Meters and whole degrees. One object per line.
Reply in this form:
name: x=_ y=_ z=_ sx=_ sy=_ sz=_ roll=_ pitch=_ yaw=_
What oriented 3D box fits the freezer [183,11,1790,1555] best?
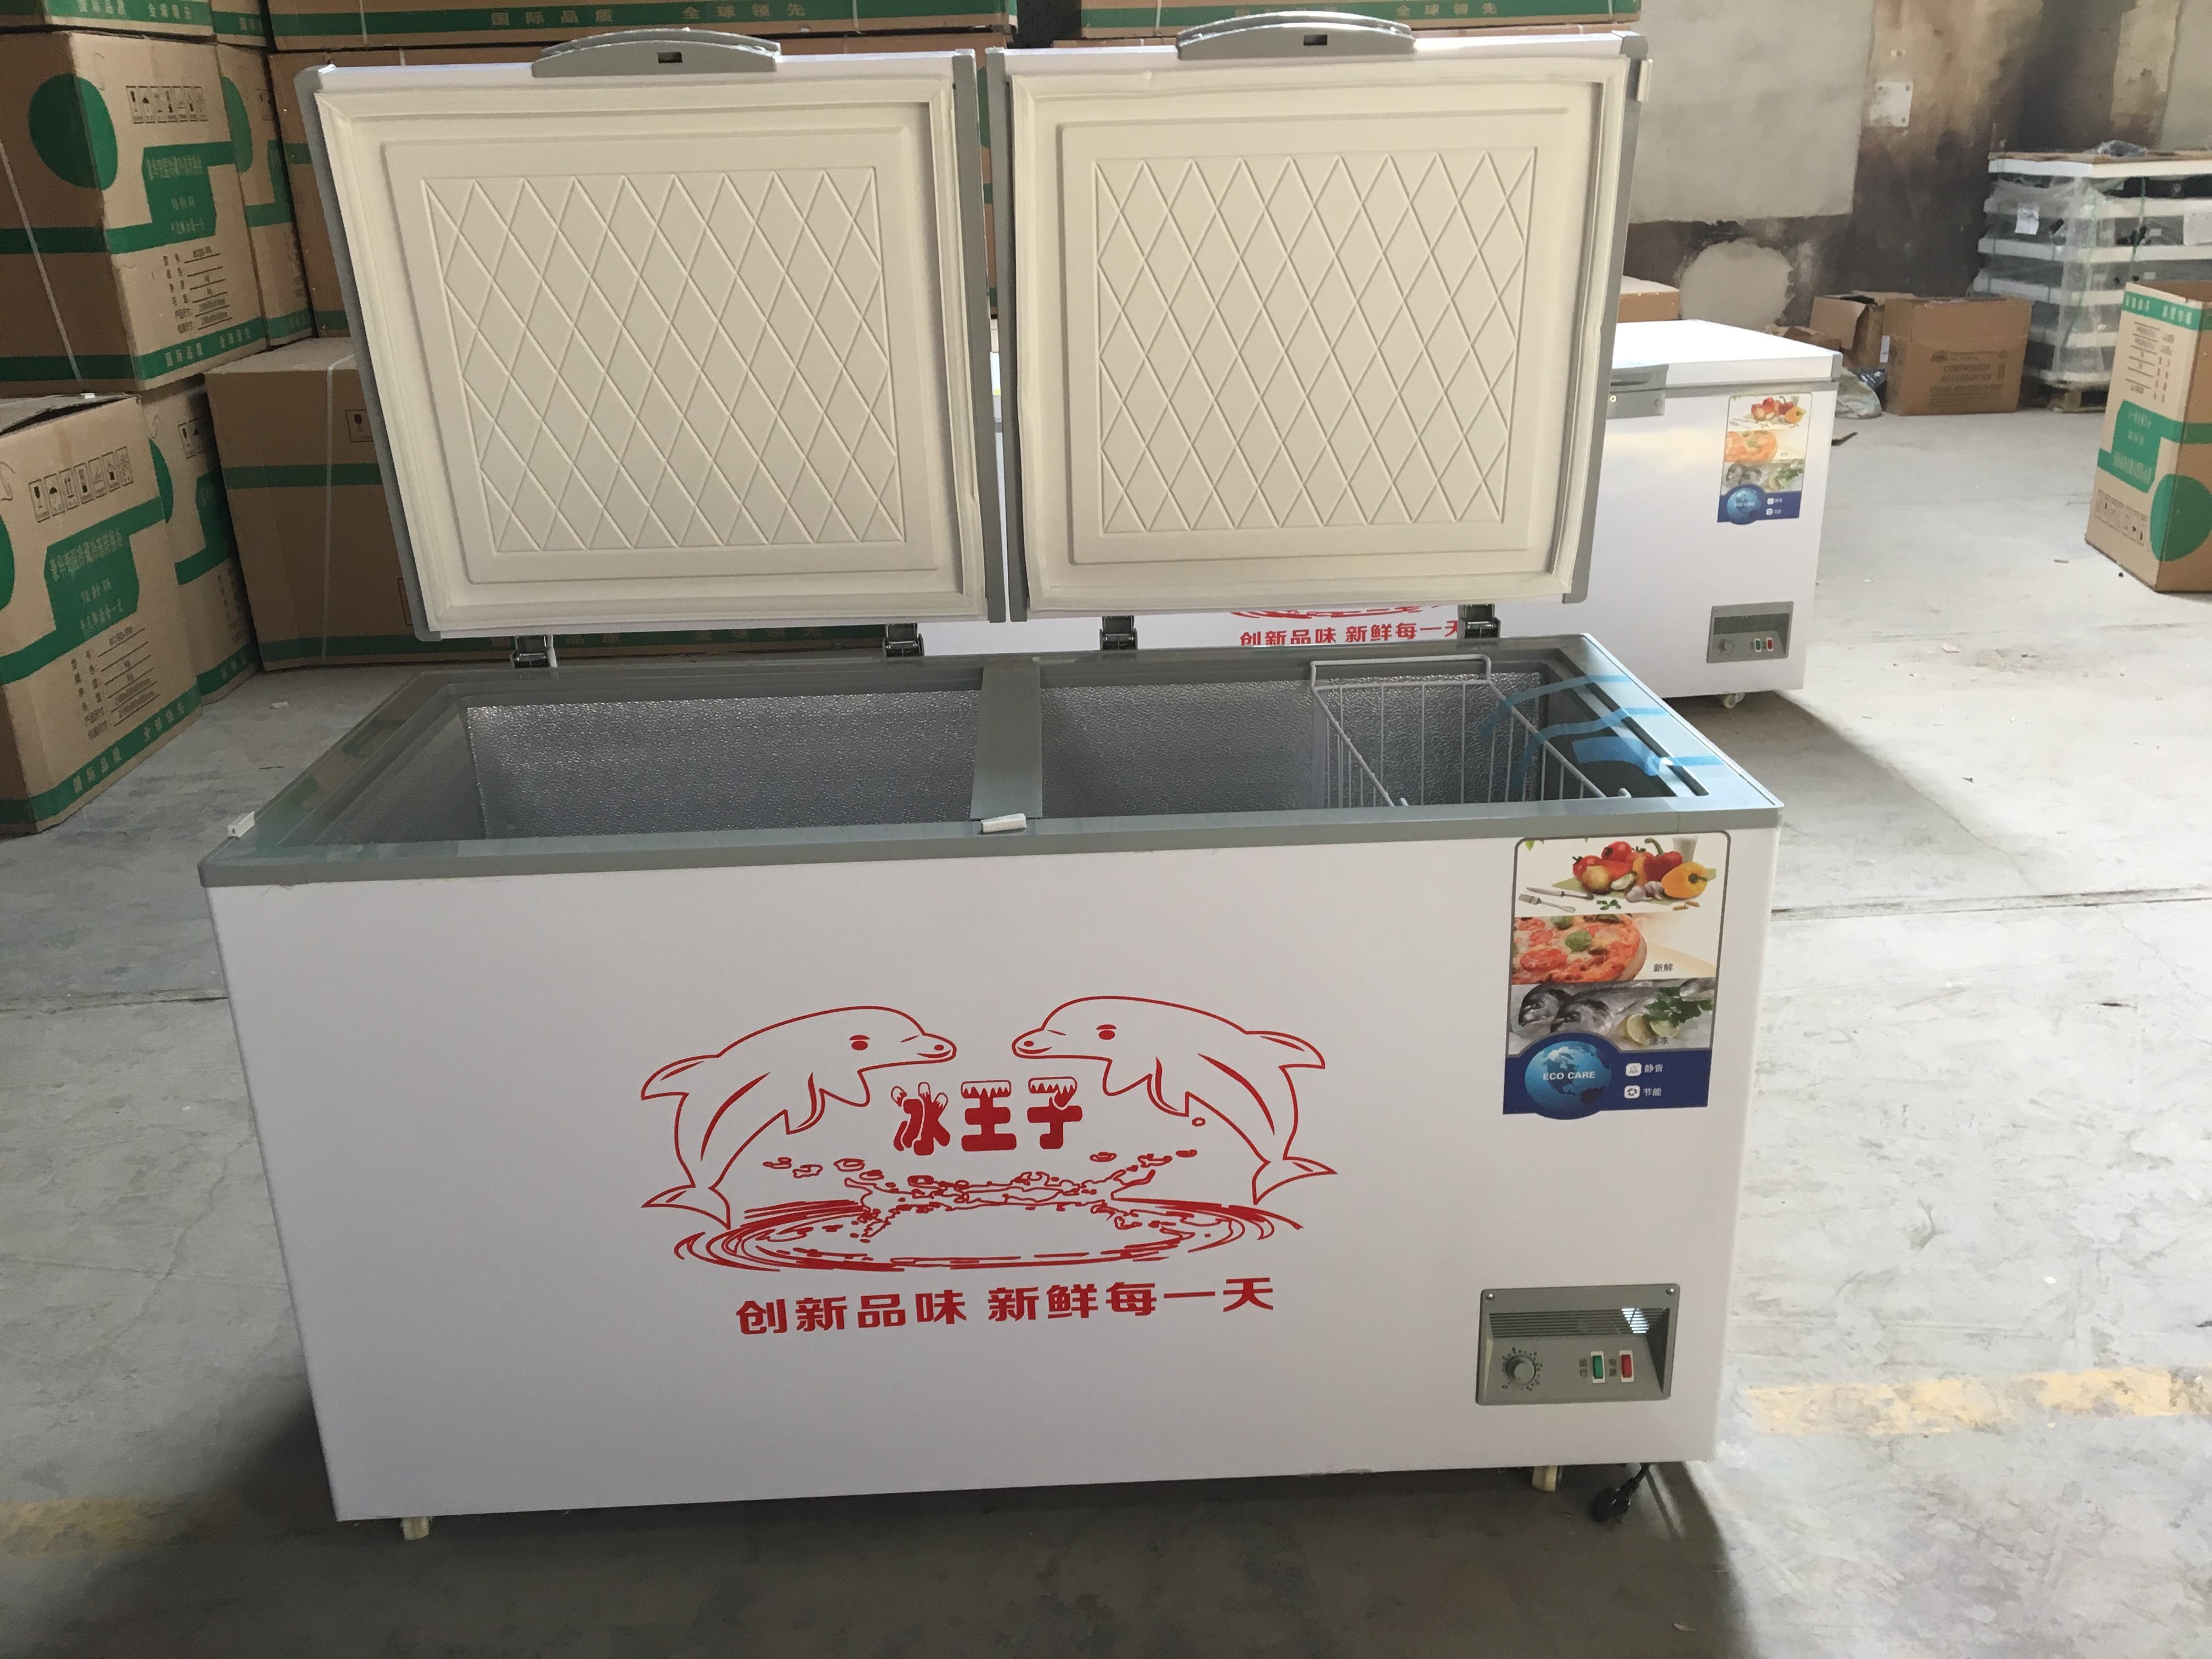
freezer: x=-0.128 y=-0.049 z=2.145 sx=1.728 sy=1.699 sz=0.803 roll=-2 pitch=27 yaw=-1

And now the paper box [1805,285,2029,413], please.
paper box: x=3.727 y=-2.196 z=8.072 sx=0.714 sy=0.418 sz=0.689 roll=-2 pitch=24 yaw=-1
